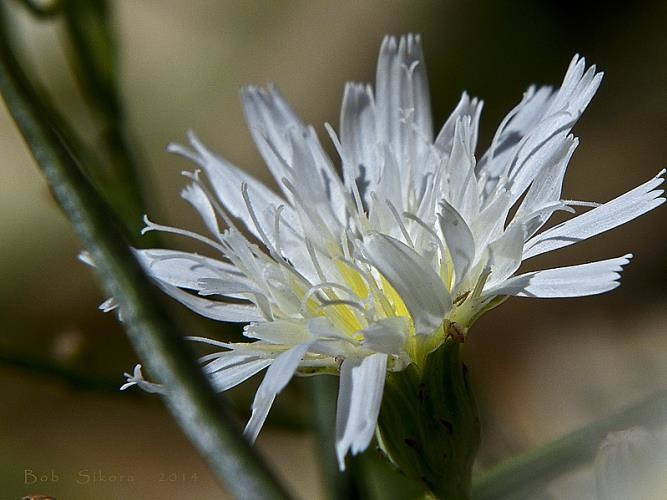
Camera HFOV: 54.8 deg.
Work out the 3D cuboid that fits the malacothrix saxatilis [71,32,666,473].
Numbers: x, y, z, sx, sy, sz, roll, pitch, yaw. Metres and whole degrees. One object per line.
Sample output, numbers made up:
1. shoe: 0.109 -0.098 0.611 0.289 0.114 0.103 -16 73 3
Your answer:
1. malacothrix saxatilis: 0.039 -0.008 0.490 0.307 0.135 0.324 -33 34 4
